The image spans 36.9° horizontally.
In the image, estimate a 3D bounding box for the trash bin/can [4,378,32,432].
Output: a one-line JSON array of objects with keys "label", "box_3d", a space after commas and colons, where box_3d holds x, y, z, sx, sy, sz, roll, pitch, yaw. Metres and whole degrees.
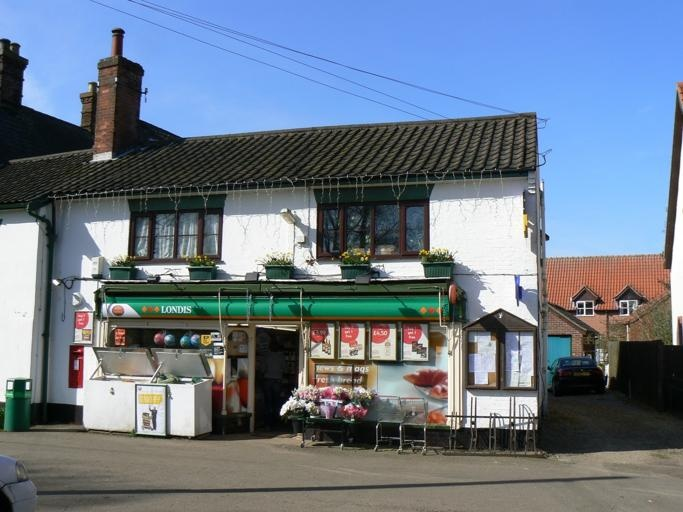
[{"label": "trash bin/can", "box_3d": [-8.911, 4.056, 27.968, 0.679, 1.429, 0.764, 2, -7, -20]}]

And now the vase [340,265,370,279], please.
[{"label": "vase", "box_3d": [0.337, 0.403, 27.020, 0.536, 0.256, 0.416, 3, -4, -23]}]

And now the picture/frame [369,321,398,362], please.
[{"label": "picture/frame", "box_3d": [1.112, 2.242, 26.641, 1.005, 1.313, 0.137, 0, -6, 11]}]

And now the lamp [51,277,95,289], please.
[{"label": "lamp", "box_3d": [-7.804, 0.752, 29.248, 1.375, 0.378, 0.338, -3, -6, 15]}]

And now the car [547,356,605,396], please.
[{"label": "car", "box_3d": [8.812, 4.576, 38.520, 1.478, 1.226, 3.612, -2, -5, 5]}]

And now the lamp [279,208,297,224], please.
[{"label": "lamp", "box_3d": [-1.444, -1.092, 27.848, 0.291, 0.182, 0.504, 1, -18, 11]}]

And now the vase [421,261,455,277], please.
[{"label": "vase", "box_3d": [2.505, 0.369, 26.454, 0.559, 0.269, 0.420, 1, -7, 12]}]

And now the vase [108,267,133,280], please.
[{"label": "vase", "box_3d": [-6.236, 0.486, 28.793, 0.444, 0.257, 0.384, 1, -6, 2]}]

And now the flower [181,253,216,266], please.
[{"label": "flower", "box_3d": [-3.999, 0.119, 28.383, 0.942, 0.389, 0.425, -3, -7, 17]}]

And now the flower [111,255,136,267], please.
[{"label": "flower", "box_3d": [-6.198, 0.140, 28.844, 0.666, 0.327, 0.347, 1, -6, -15]}]
